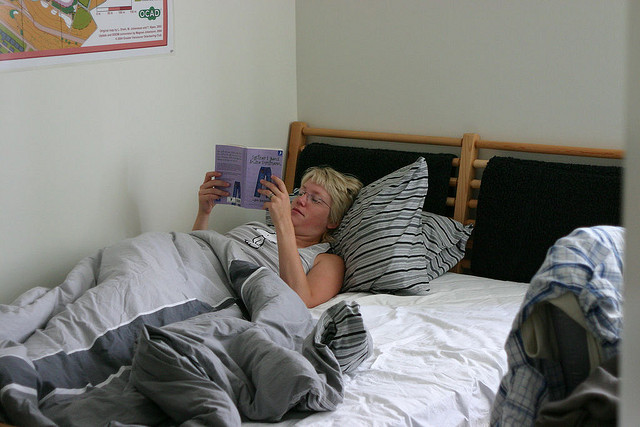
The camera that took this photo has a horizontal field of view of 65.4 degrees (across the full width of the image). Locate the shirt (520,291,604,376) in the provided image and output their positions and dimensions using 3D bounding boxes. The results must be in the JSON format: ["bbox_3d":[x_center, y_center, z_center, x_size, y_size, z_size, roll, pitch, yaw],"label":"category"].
[{"bbox_3d":[0.522,0.267,1.118,0.147,0.194,0.059,-23,9,-27],"label":"shirt"}]

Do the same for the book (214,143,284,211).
[{"bbox_3d":[-0.332,-0.166,2.300,0.369,0.318,0.041,8,9,32],"label":"book"}]
